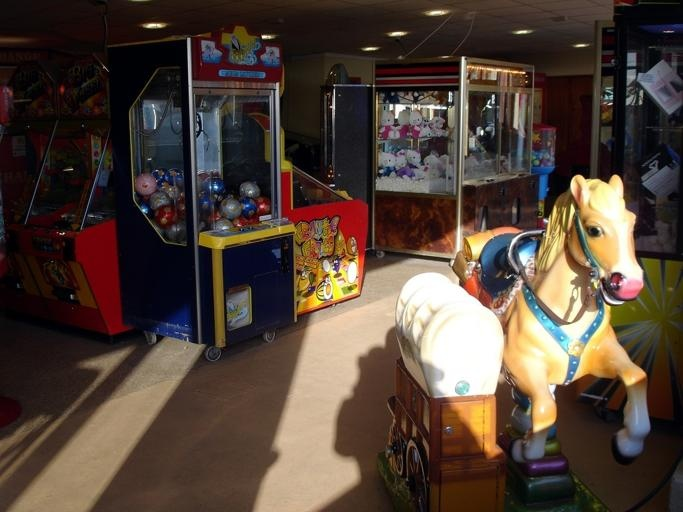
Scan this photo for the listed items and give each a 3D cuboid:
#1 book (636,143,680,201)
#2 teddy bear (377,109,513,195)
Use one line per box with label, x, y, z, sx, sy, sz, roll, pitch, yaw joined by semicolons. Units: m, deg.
book;1.907;-0.516;3.070;0.174;0.357;0.188;16;20;4
teddy bear;1.350;-1.655;7.561;1.297;1.409;1.340;5;4;23
